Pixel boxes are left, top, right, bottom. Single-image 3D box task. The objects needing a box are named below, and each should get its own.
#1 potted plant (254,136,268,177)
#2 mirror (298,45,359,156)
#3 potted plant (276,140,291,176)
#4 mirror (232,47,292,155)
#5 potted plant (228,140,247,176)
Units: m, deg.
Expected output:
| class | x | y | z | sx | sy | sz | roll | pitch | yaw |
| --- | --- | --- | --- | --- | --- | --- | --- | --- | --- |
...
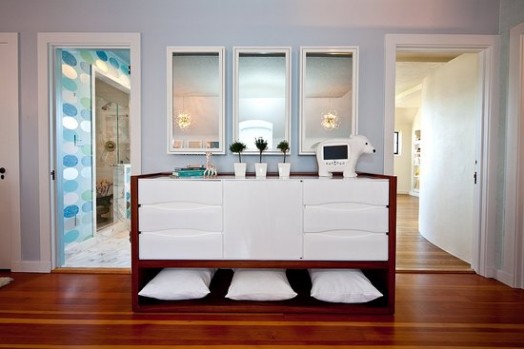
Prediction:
| class | x | y | z | sx | sy | sz | roll | pitch | yaw |
| --- | --- | --- | --- | --- | --- | --- | --- | --- | --- |
| potted plant | -0.010 | -0.202 | 4.362 | 0.147 | 0.436 | 0.398 | 0 | 6 | 0 |
| mirror | 0.762 | -0.827 | 4.460 | 0.700 | 1.209 | 0.043 | -1 | 6 | -9 |
| potted plant | 0.258 | -0.191 | 4.419 | 0.182 | 0.402 | 0.160 | 4 | 1 | -12 |
| mirror | -0.004 | -0.900 | 4.469 | 0.662 | 1.174 | 0.051 | -1 | -15 | -1 |
| potted plant | -0.255 | -0.186 | 4.418 | 0.209 | 0.407 | 0.220 | -1 | -2 | -31 |
